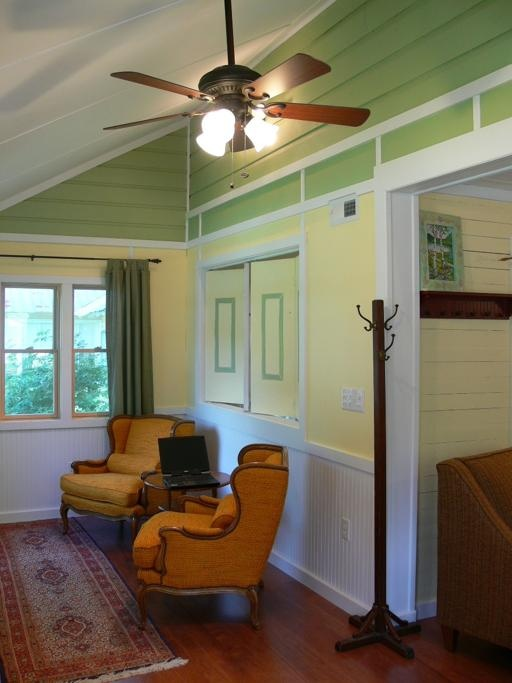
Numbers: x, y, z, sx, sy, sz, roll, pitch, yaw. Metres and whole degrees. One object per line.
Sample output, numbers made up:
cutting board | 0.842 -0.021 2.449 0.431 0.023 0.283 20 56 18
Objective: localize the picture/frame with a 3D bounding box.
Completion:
picture/frame | 1.049 -0.526 3.235 0.526 0.591 0.042 3 -5 -38

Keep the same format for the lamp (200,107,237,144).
lamp | -0.130 -0.757 2.020 0.104 0.114 0.110 -14 33 23

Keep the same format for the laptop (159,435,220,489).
laptop | -0.478 0.838 3.916 0.309 0.226 0.329 1 -4 -23
